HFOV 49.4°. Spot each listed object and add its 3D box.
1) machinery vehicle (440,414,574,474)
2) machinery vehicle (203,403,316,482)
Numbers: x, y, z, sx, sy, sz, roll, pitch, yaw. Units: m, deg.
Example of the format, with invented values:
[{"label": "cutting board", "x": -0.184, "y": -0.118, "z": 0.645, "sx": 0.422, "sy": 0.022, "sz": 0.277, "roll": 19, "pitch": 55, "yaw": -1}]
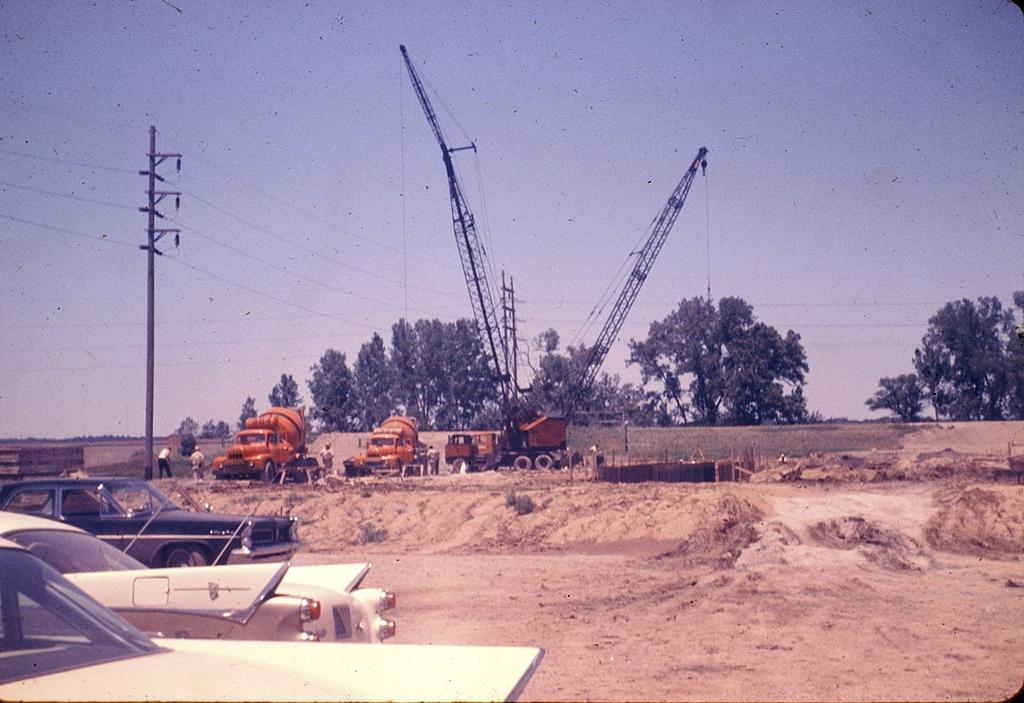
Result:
[{"label": "machinery vehicle", "x": -0.095, "y": 5.056, "z": 59.536, "sx": 7.033, "sy": 4.014, "sz": 2.718, "roll": -3, "pitch": 1, "yaw": 2}, {"label": "machinery vehicle", "x": -10.139, "y": 4.073, "z": 46.996, "sx": 2.232, "sy": 3.650, "sz": 5.956, "roll": -8, "pitch": -4, "yaw": 17}]
